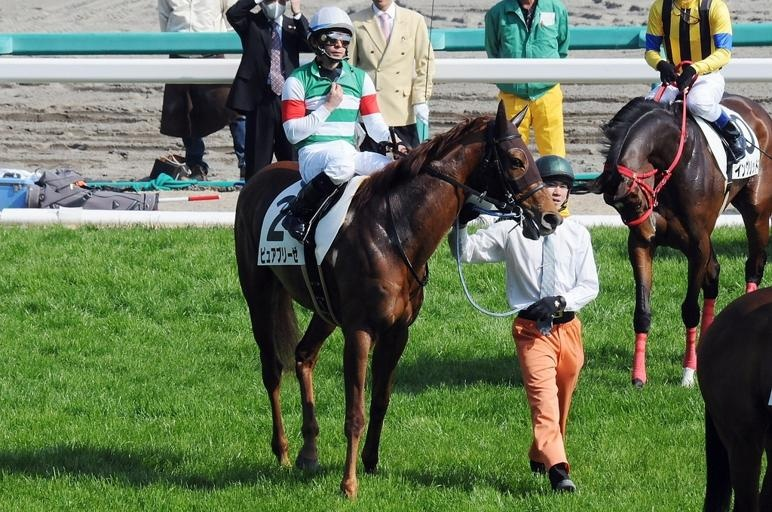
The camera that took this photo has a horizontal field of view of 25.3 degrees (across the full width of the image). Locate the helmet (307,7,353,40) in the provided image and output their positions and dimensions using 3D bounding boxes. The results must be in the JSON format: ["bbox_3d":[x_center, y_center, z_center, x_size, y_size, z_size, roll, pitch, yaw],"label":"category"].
[{"bbox_3d":[-0.507,-2.193,16.032,0.403,0.257,0.332,-1,9,-3],"label":"helmet"}]

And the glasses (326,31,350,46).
[{"bbox_3d":[-0.448,-2.002,15.957,0.151,0.072,0.151,2,-10,-13],"label":"glasses"}]

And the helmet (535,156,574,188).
[{"bbox_3d":[1.568,-0.805,15.881,0.318,0.302,0.374,-3,9,-9],"label":"helmet"}]

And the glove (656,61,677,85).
[{"bbox_3d":[2.983,-1.913,17.807,0.260,0.235,0.270,8,12,42],"label":"glove"}]

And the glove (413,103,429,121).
[{"bbox_3d":[0.388,-1.496,17.986,0.158,0.208,0.213,-2,-34,5],"label":"glove"}]

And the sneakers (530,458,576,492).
[{"bbox_3d":[1.525,1.976,15.778,0.179,0.225,0.519,-6,10,-28],"label":"sneakers"}]

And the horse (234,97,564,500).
[{"bbox_3d":[-0.143,0.458,16.103,1.128,3.629,4.030,-4,9,-42],"label":"horse"}]

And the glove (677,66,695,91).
[{"bbox_3d":[3.110,-1.845,17.683,0.087,0.266,0.196,15,-24,39],"label":"glove"}]
